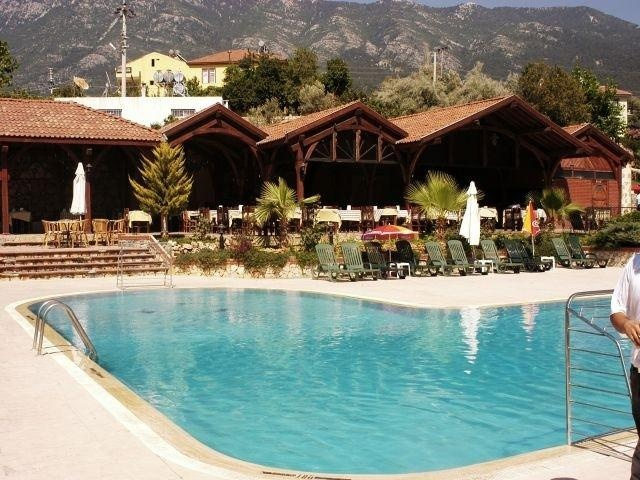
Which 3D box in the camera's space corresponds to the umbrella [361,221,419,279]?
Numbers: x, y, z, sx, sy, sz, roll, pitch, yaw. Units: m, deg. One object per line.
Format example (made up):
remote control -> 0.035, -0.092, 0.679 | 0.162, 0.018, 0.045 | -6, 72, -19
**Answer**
umbrella -> 2.617, 0.305, 26.214 | 1.954, 1.967, 2.069 | 0, 1, 26
